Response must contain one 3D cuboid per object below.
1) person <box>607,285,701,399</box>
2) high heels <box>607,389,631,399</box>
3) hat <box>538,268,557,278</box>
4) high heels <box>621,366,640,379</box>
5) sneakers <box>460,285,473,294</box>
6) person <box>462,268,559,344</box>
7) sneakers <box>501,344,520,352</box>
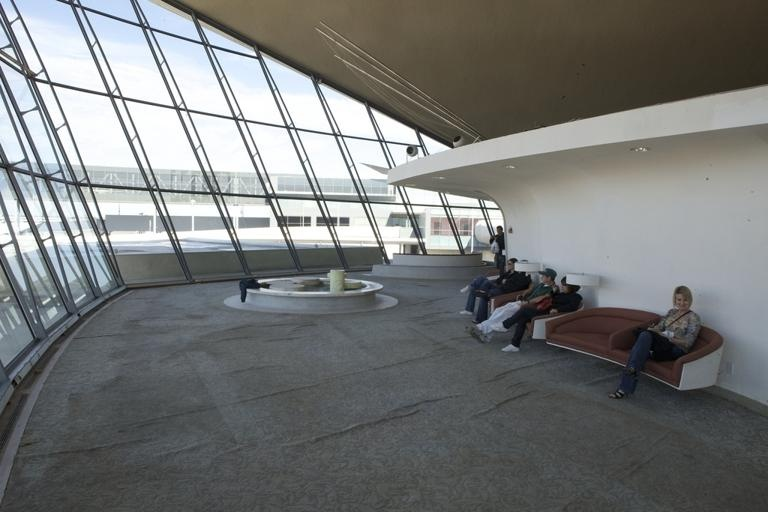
[{"bbox_3d":[4.117,1.350,5.938,1.153,1.739,0.877,22,-16,10],"label":"person"},{"bbox_3d":[3.316,1.952,5.540,0.336,0.077,0.125,-1,-4,-18],"label":"high heels"},{"bbox_3d":[3.619,0.375,8.669,0.308,0.147,0.223,21,7,23],"label":"hat"},{"bbox_3d":[3.491,1.652,5.548,0.167,0.180,0.141,8,11,35],"label":"high heels"},{"bbox_3d":[2.353,0.947,11.196,0.219,0.217,0.579,-1,5,5],"label":"sneakers"},{"bbox_3d":[2.675,1.010,8.187,2.040,1.088,0.606,-18,21,-12],"label":"person"},{"bbox_3d":[2.373,1.731,7.332,0.283,0.102,0.139,0,-8,6],"label":"sneakers"}]
